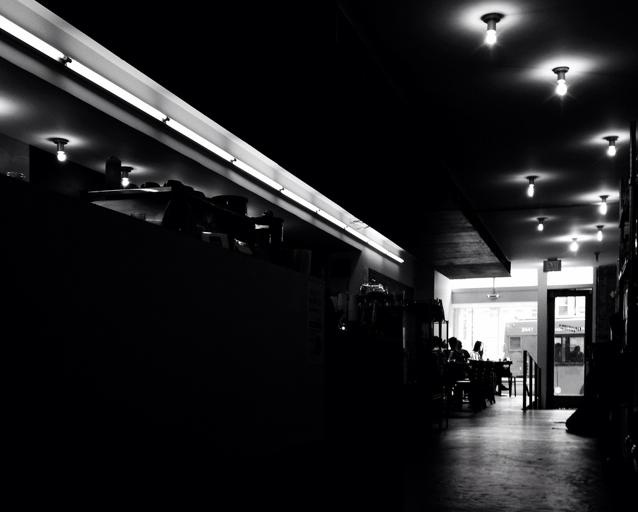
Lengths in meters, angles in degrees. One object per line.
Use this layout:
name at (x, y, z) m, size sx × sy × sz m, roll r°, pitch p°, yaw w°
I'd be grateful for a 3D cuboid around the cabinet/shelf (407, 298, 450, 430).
cabinet/shelf at (1.321, 1.224, 8.302) m, size 0.491 × 1.607 × 2.262 m, roll 1°, pitch -11°, yaw 10°
